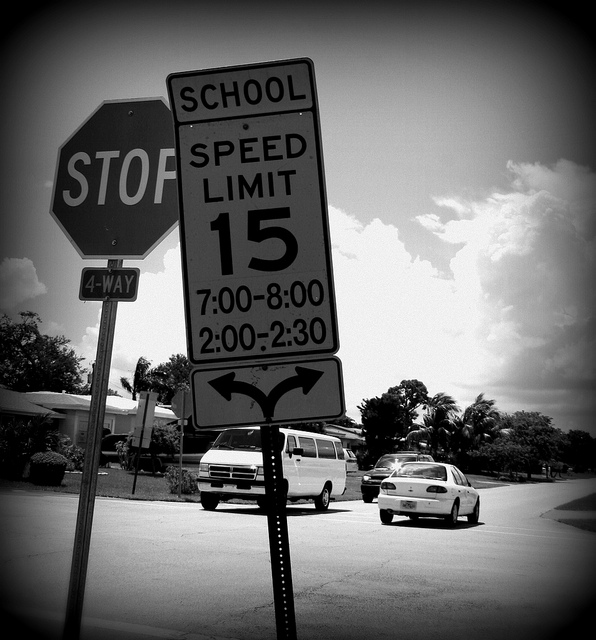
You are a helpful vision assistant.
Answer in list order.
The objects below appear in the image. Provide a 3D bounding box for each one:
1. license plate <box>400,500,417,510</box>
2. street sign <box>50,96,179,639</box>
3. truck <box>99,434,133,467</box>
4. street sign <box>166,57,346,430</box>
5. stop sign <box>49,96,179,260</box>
[{"bbox_3d":[2.523,4.272,13.643,0.337,0.202,0.043,3,-7,11],"label":"license plate"},{"bbox_3d":[-0.906,0.126,2.834,0.426,2.558,0.780,9,-10,-44],"label":"street sign"},{"bbox_3d":[-9.308,6.741,30.256,1.238,1.552,6.410,6,-10,-17],"label":"truck"},{"bbox_3d":[-0.152,-0.248,2.450,0.581,0.024,1.670,-2,-55,3],"label":"street sign"},{"bbox_3d":[-0.877,-0.728,3.039,0.686,1.128,0.058,-2,-30,-6],"label":"stop sign"}]
